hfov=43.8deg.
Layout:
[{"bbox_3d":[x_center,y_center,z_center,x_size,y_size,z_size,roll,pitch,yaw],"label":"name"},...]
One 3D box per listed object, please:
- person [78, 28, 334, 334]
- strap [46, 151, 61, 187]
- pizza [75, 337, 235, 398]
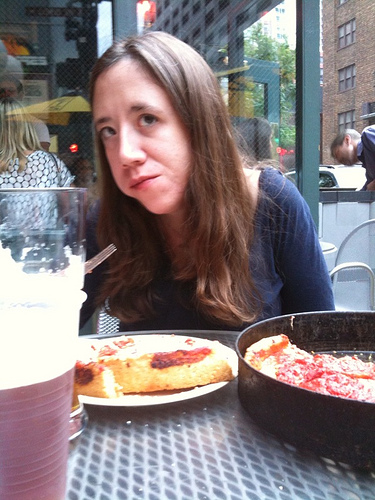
[{"bbox_3d":[0.030,-0.187,1.443,0.698,0.909,0.465,-8,11,-23],"label":"person"},{"bbox_3d":[-0.701,-0.425,2.449,0.053,0.178,0.033,-6,11,-7],"label":"strap"},{"bbox_3d":[-0.066,0.192,0.857,0.261,0.042,0.282,-5,9,-8],"label":"pizza"}]
